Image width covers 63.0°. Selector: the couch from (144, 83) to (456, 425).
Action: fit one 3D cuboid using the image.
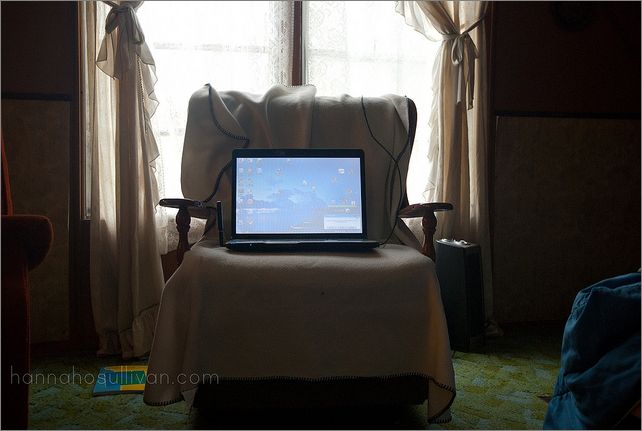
[{"bbox_3d":[-0.101,0.146,2.754,1.433,1.475,1.002,0,14,-1],"label":"couch"}]
